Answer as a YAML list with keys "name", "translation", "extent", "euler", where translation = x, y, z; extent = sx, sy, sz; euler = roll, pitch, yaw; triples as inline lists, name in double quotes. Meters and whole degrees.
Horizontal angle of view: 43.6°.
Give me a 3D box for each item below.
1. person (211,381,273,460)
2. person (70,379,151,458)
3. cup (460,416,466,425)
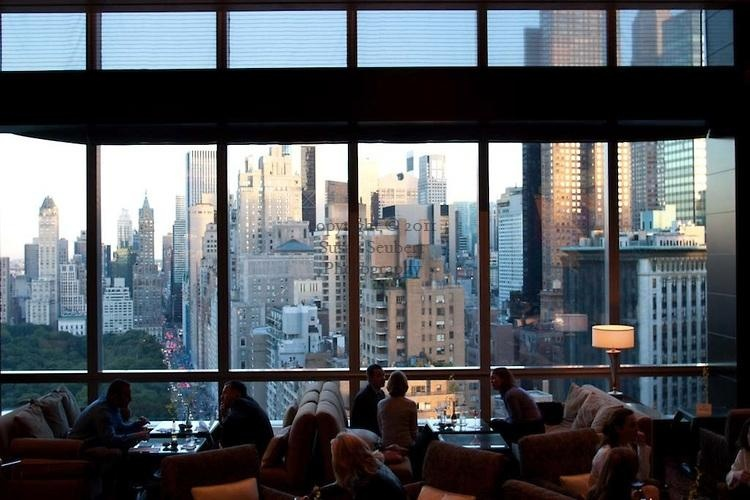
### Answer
- name: "person"
  translation: [-1.697, 2.267, 11.879]
  extent: [0.663, 1.190, 0.671]
  euler: [6, -15, -26]
- name: "person"
  translation: [-3.346, 2.084, 11.949]
  extent: [0.940, 1.120, 0.759]
  euler: [2, 3, -22]
- name: "cup"
  translation: [1.150, 2.223, 12.299]
  extent: [0.087, 0.083, 0.047]
  euler: [1, 0, -4]
